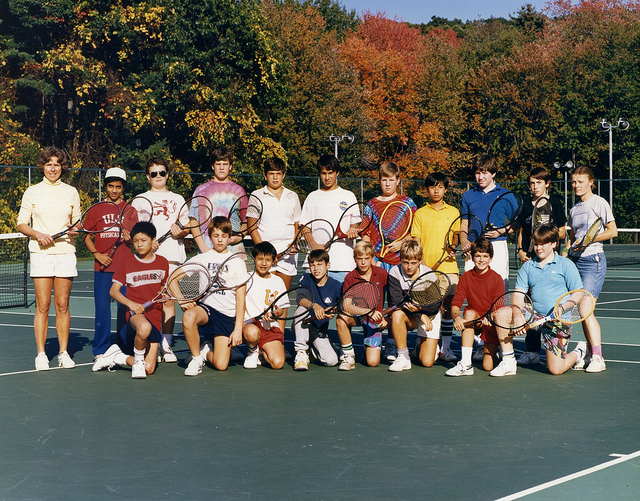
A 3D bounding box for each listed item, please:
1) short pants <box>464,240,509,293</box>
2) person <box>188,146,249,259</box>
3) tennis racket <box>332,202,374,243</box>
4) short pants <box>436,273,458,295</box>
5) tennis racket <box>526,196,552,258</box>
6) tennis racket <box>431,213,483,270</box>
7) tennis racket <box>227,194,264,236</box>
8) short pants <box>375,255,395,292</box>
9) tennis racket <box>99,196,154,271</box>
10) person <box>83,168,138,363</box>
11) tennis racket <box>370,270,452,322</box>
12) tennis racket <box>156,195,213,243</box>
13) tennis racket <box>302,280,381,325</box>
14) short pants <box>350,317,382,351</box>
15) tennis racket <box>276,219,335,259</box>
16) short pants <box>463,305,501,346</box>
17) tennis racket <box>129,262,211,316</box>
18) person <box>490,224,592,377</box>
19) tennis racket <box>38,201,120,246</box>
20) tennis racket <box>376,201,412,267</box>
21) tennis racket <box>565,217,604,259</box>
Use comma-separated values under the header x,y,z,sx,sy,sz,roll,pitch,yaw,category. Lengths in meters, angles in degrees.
x,y,z,sx,sy,sz,roll,pitch,yaw,category
1.836,0.183,9.012,0.418,0.709,0.340,0,-18,7,short pants
-1.180,-0.491,9.747,0.740,1.504,0.655,-8,24,-24,person
0.403,-0.364,9.676,0.406,0.400,0.363,-3,5,-32,tennis racket
1.331,0.346,8.892,0.236,0.271,0.061,12,-7,-16,short pants
2.574,-0.271,9.502,0.214,0.082,0.979,8,-39,16,tennis racket
1.615,-0.154,9.511,0.910,0.361,0.054,-46,-12,-10,tennis racket
-0.808,-0.453,9.767,0.093,0.361,0.569,-25,-33,6,tennis racket
0.744,0.240,9.560,0.264,0.300,0.174,-15,-32,32,short pants
-2.230,-0.272,9.392,0.374,1.016,0.077,29,-31,1,tennis racket
-2.350,0.210,9.410,0.634,2.366,0.666,12,14,43,person
1.047,0.454,8.728,0.679,0.479,0.336,-2,5,-22,tennis racket
-1.599,-0.325,9.614,0.851,0.314,0.076,-46,3,-25,tennis racket
0.376,0.550,8.789,0.660,0.428,0.402,-1,5,-17,tennis racket
0.559,0.913,9.257,0.323,0.503,0.254,-5,-8,43,short pants
-0.130,-0.161,9.857,0.061,0.355,0.819,37,-40,-27,tennis racket
1.739,0.806,8.764,0.328,0.149,0.344,-11,28,-25,short pants
-1.562,0.446,8.591,0.972,0.458,0.110,-30,-20,-28,tennis racket
2.394,0.543,8.674,1.186,1.617,0.658,-1,5,-11,person
-2.700,-0.273,9.292,0.913,0.389,0.045,-32,5,-24,tennis racket
0.873,-0.308,9.654,0.261,1.021,0.047,22,-9,5,tennis racket
2.937,-0.129,8.974,0.039,0.149,0.524,12,-52,-10,tennis racket
